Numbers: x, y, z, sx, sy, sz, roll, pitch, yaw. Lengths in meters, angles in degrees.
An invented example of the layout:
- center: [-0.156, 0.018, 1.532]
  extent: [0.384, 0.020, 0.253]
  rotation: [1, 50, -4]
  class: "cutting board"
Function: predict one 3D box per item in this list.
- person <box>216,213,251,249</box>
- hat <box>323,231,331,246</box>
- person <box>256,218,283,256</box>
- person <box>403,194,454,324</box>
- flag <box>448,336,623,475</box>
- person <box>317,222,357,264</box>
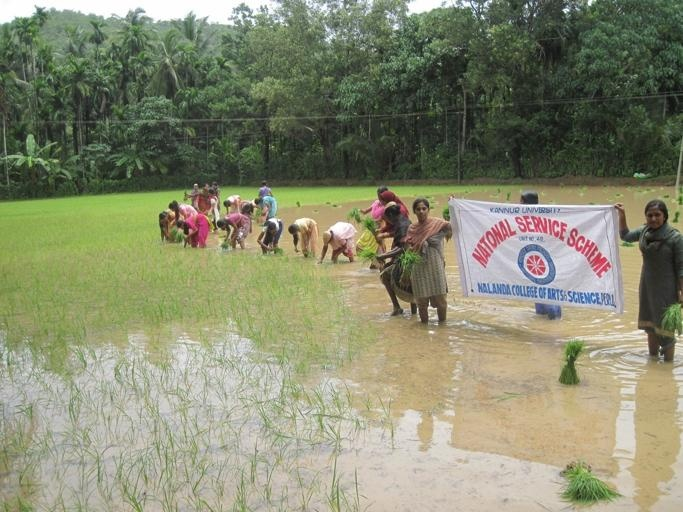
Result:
- center: [-2.562, -0.601, 16.932]
  extent: [0.549, 0.944, 1.106]
  rotation: [2, 14, 13]
  class: "person"
- center: [-0.273, -0.363, 14.298]
  extent: [0.163, 0.335, 0.388]
  rotation: [-2, 13, -2]
  class: "hat"
- center: [-1.697, -0.443, 16.834]
  extent: [0.363, 0.761, 1.079]
  rotation: [12, -23, 2]
  class: "person"
- center: [1.241, 0.088, 10.029]
  extent: [0.644, 1.778, 0.507]
  rotation: [-1, 13, 1]
  class: "person"
- center: [2.096, 1.597, 7.648]
  extent: [1.697, 0.163, 2.170]
  rotation: [3, 14, 18]
  class: "flag"
- center: [-0.131, -0.276, 14.664]
  extent: [0.702, 0.927, 0.854]
  rotation: [0, -1, 39]
  class: "person"
